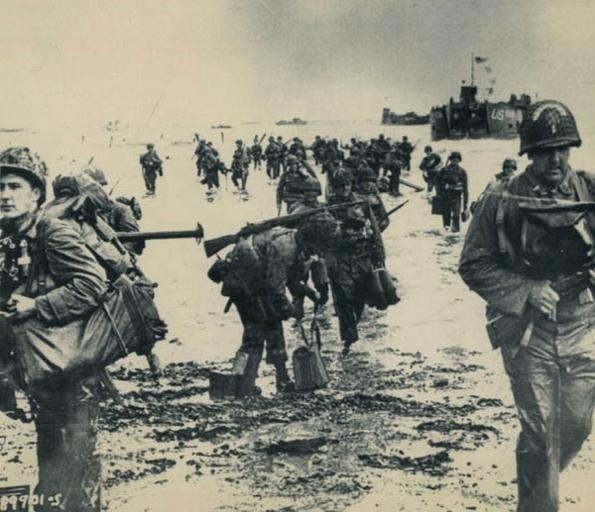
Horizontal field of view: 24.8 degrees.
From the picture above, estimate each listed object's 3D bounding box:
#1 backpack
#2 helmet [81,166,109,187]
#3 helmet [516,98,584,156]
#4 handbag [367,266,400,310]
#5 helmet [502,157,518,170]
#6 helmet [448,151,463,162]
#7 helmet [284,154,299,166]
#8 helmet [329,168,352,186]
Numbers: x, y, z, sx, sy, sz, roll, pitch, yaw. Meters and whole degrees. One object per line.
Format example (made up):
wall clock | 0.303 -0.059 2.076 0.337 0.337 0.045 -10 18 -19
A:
backpack | 0.116 1.044 14.412 0.387 0.798 0.202 -2 -12 -1
helmet | -2.198 -0.872 14.721 0.246 0.151 0.171 37 11 -14
helmet | 2.403 -1.241 13.166 0.468 0.437 0.569 -9 -6 10
handbag | 0.908 0.354 14.596 0.297 0.466 0.357 -8 14 38
helmet | 2.221 -0.965 14.270 0.129 0.110 0.129 7 30 9
helmet | 1.705 -1.074 14.793 0.106 0.093 0.127 6 27 4
helmet | -0.081 -1.068 15.230 0.126 0.109 0.112 6 14 -2
helmet | 0.440 -0.846 14.567 0.243 0.212 0.173 7 16 -1
